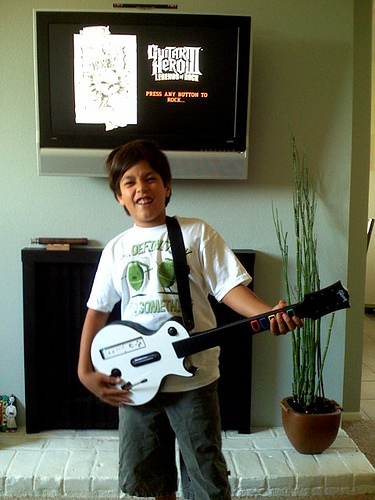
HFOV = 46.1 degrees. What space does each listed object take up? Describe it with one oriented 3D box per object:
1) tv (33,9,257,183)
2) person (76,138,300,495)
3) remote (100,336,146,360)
[{"bbox_3d":[-0.191,-0.647,1.799,0.855,0.610,0.067,1,8,0],"label":"tv"},{"bbox_3d":[-0.068,0.165,1.189,0.329,0.940,0.500,-5,7,-39],"label":"person"},{"bbox_3d":[-0.166,0.259,1.163,0.169,0.048,0.023,-19,0,27],"label":"remote"}]
